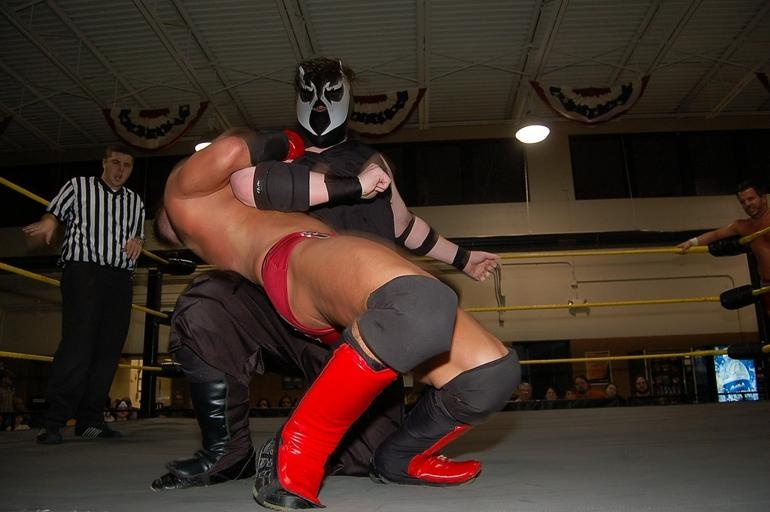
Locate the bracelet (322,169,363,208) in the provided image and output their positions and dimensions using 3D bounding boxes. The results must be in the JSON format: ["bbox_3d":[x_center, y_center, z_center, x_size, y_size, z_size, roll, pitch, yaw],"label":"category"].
[{"bbox_3d":[-0.232,-0.374,3.305,0.174,0.081,0.177,7,17,0],"label":"bracelet"}]

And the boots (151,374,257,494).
[{"bbox_3d":[-1.048,1.034,3.386,0.625,0.579,0.278,3,-9,-27],"label":"boots"}]

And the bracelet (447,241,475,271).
[{"bbox_3d":[0.514,0.018,4.027,0.125,0.135,0.163,19,-15,-3],"label":"bracelet"}]

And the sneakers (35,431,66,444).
[{"bbox_3d":[-2.438,1.323,4.308,0.177,0.104,0.090,-2,-9,5],"label":"sneakers"}]

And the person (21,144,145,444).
[{"bbox_3d":[-2.281,0.255,4.607,0.734,2.274,0.446,0,-2,-26],"label":"person"}]

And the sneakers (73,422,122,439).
[{"bbox_3d":[-2.224,1.356,4.537,0.418,0.156,0.138,2,-11,1],"label":"sneakers"}]

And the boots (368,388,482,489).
[{"bbox_3d":[0.205,1.087,3.484,0.735,0.674,0.355,0,-6,0],"label":"boots"}]
